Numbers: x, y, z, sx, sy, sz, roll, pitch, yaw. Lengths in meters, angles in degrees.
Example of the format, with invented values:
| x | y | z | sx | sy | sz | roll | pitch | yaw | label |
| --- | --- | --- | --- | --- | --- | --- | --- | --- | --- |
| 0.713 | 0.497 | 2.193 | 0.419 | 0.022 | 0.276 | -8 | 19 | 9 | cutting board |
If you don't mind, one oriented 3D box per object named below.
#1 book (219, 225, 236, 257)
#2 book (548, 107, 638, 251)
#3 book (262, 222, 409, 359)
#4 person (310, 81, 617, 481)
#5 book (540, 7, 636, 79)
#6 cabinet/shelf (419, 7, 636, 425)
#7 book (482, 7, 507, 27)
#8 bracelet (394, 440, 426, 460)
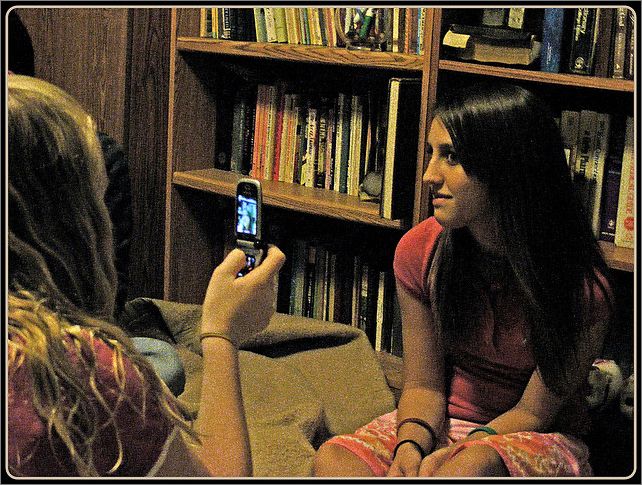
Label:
| x | y | z | sx | sy | sz | roll | pitch | yaw | label |
| --- | --- | --- | --- | --- | --- | --- | --- | --- | --- |
| -0.352 | -0.011 | 2.236 | 0.018 | 0.179 | 0.096 | -3 | 12 | -26 | book |
| 0.704 | -0.159 | 1.531 | 0.181 | 0.337 | 0.324 | -5 | 11 | -12 | book |
| 0.049 | 0.179 | 1.997 | 0.428 | 0.574 | 0.064 | 3 | 5 | 36 | book |
| 0.332 | 0.039 | 1.816 | 0.883 | 1.221 | 0.679 | 0 | 4 | -31 | person |
| 0.709 | -0.522 | 1.562 | 0.200 | 0.198 | 0.114 | 2 | 4 | 17 | book |
| 0.556 | -0.118 | 1.806 | 0.655 | 1.155 | 0.775 | -3 | 9 | -8 | cabinet/shelf |
| 0.491 | -0.633 | 1.682 | 0.055 | 0.053 | 0.031 | 14 | 20 | 42 | book |
| 0.193 | 0.446 | 1.283 | 0.069 | 0.034 | 0.033 | 5 | 7 | 9 | bracelet |
